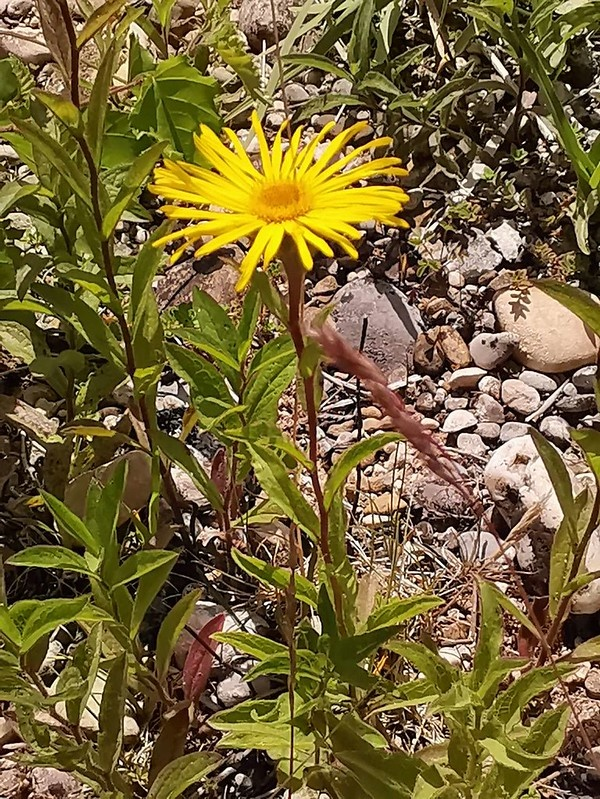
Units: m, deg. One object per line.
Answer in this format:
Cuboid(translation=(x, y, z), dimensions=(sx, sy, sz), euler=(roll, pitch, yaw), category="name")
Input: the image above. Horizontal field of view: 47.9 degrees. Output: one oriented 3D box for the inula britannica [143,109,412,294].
Cuboid(translation=(-0.027, -0.233, 0.788), dimensions=(0.255, 0.084, 0.236), euler=(9, 50, 17), category="inula britannica")
